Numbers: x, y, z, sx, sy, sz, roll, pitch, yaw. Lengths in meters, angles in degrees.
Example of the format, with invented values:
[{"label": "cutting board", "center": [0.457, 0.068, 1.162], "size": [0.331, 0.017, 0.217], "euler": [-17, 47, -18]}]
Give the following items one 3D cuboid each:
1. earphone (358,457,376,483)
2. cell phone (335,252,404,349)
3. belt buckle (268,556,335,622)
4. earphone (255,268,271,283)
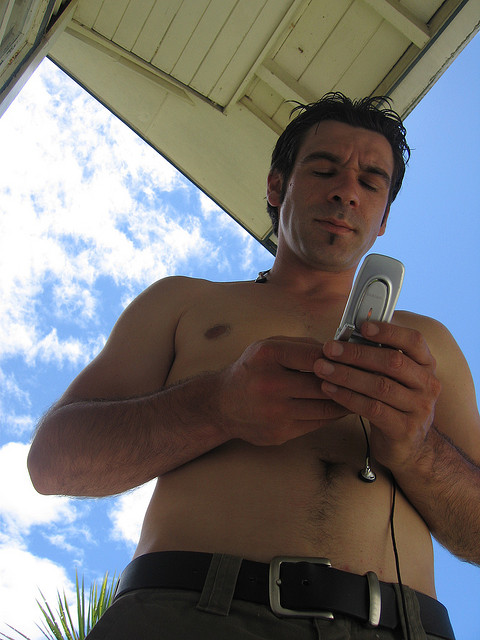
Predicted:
[{"label": "earphone", "center": [0.270, 0.311, 1.138], "size": [0.047, 0.050, 0.046], "euler": [1, -34, 13]}, {"label": "cell phone", "center": [0.227, -0.033, 0.922], "size": [0.078, 0.143, 0.091], "euler": [18, -27, 8]}, {"label": "belt buckle", "center": [0.100, 0.440, 0.889], "size": [0.104, 0.103, 0.023], "euler": [9, -51, -1]}, {"label": "earphone", "center": [0.079, -0.150, 1.905], "size": [0.041, 0.039, 0.108], "euler": [15, -21, -2]}]
